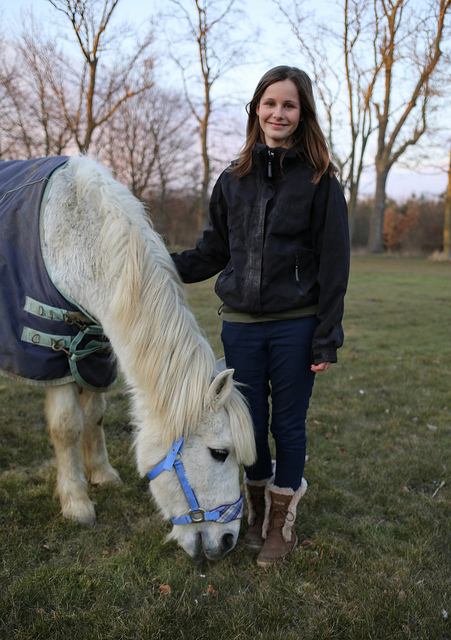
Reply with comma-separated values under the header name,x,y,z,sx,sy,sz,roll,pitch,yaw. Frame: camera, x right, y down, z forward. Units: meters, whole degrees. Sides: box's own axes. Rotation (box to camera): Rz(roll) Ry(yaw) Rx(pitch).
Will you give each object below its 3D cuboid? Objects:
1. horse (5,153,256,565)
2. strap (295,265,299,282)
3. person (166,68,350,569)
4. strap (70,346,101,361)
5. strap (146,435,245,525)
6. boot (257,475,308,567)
name,x,y,z,sx,sy,sz,roll,pitch,yaw
horse,-0.505,0.170,4.024,1.468,2.162,0.695,3,10,24
strap,0.356,-0.230,3.705,0.017,0.079,0.013,-5,10,-18
person,0.197,-0.007,3.900,0.870,2.532,0.503,6,13,40
strap,-0.768,0.172,4.050,0.118,0.026,0.063,-28,17,-28
strap,-0.131,0.821,3.835,0.378,0.492,0.258,-37,-9,32
boot,0.288,1.068,3.958,0.241,0.381,0.376,1,10,14
